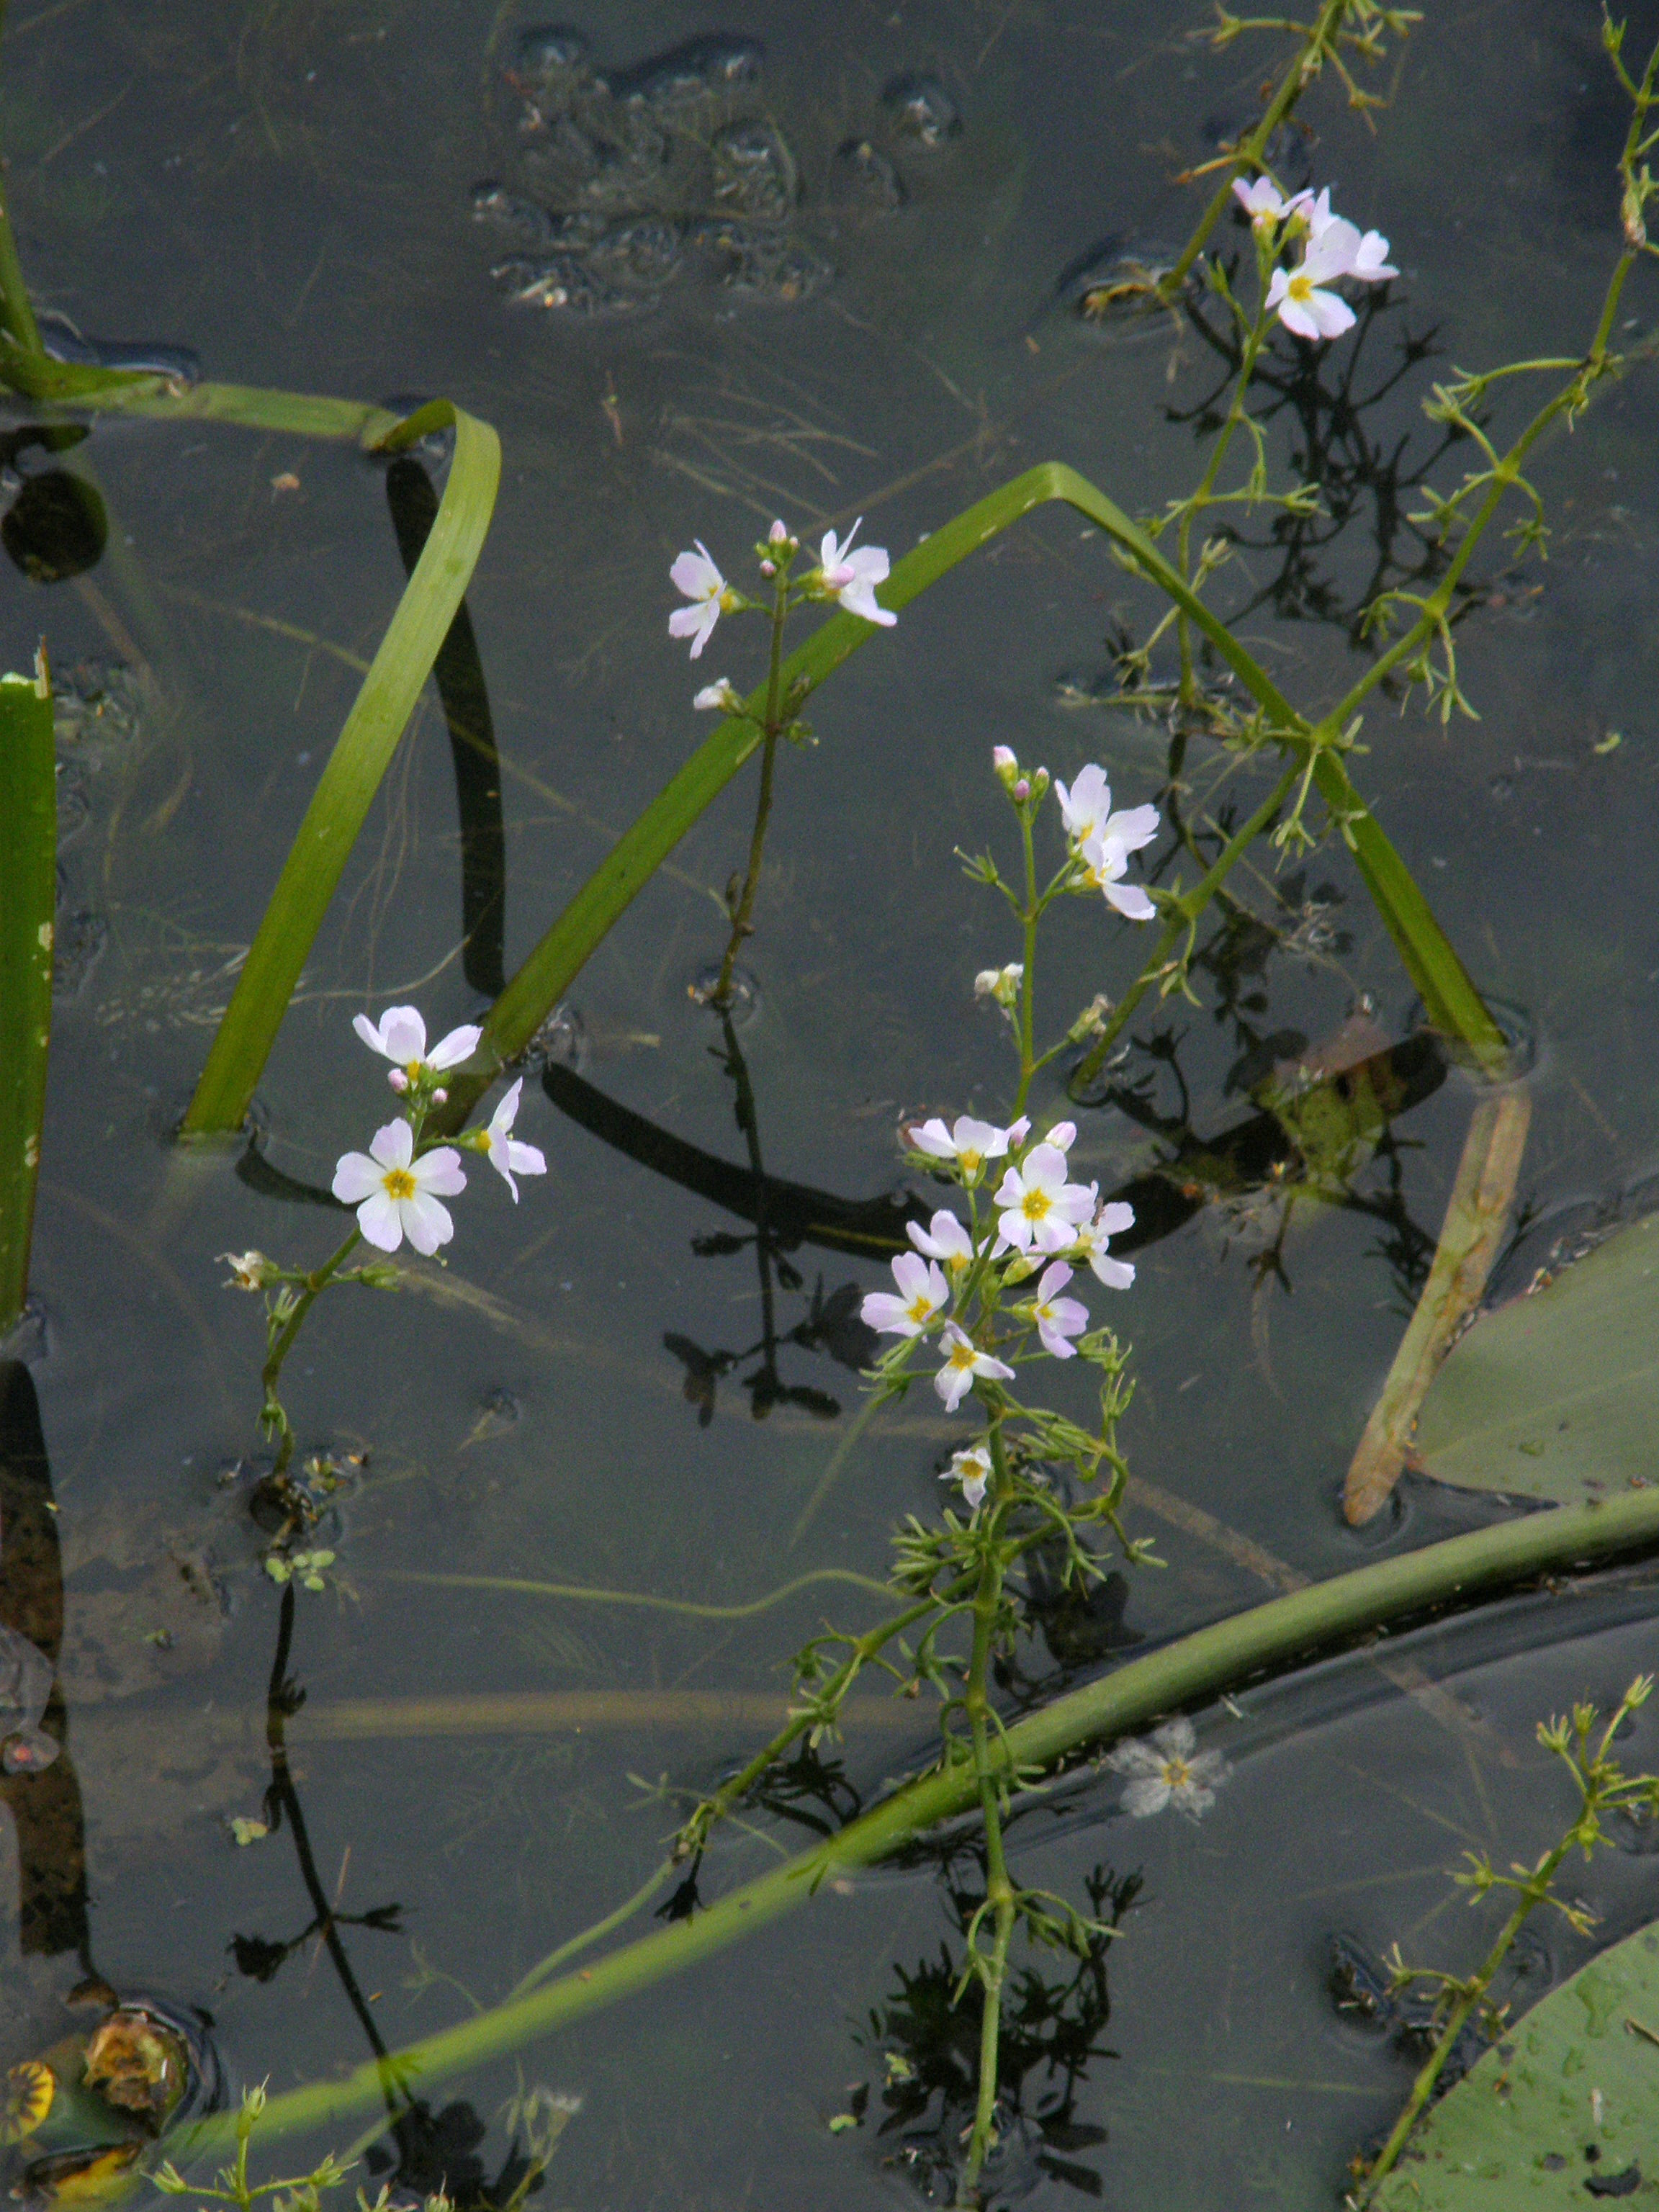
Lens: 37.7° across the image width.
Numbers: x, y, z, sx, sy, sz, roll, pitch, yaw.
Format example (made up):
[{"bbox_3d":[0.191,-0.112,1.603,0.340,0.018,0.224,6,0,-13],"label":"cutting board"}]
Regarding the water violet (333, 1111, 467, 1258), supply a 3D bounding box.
[{"bbox_3d":[-0.675,0.126,3.762,0.183,0.207,0.137,-4,8,-23],"label":"water violet"}]
